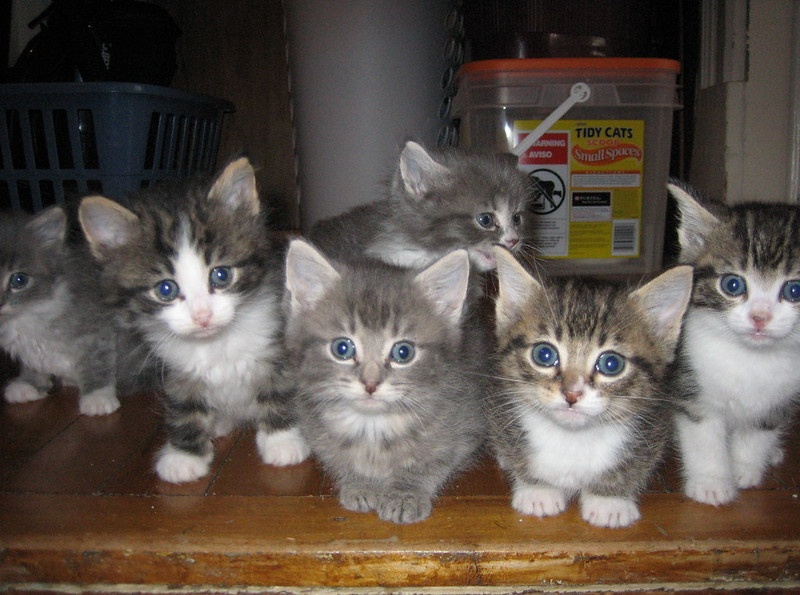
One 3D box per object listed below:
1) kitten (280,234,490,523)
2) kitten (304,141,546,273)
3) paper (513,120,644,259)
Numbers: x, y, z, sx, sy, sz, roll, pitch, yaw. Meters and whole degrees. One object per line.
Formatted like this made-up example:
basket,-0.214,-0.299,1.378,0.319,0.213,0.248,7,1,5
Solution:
kitten,-0.061,0.217,3.267,0.615,0.894,1.034,3,27,4
kitten,0.053,-0.377,4.216,1.201,0.595,0.809,3,12,39
paper,0.955,-0.563,4.454,0.681,0.692,0.168,-5,13,-7
